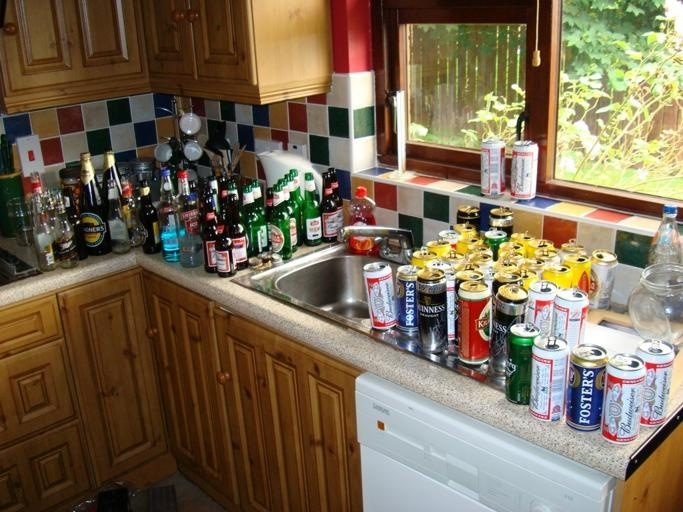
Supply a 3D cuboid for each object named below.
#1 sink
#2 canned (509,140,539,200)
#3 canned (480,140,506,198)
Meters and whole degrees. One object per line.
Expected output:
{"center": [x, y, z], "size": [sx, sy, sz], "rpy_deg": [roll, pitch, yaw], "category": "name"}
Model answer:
{"center": [-0.110, 0.123, 2.008], "size": [0.358, 0.148, 0.364], "rpy_deg": [22, 35, 35], "category": "sink"}
{"center": [0.623, -0.293, 1.868], "size": [0.104, 0.244, 0.108], "rpy_deg": [10, 33, 27], "category": "canned"}
{"center": [0.558, -0.318, 1.958], "size": [0.126, 0.197, 0.072], "rpy_deg": [-14, 22, -34], "category": "canned"}
